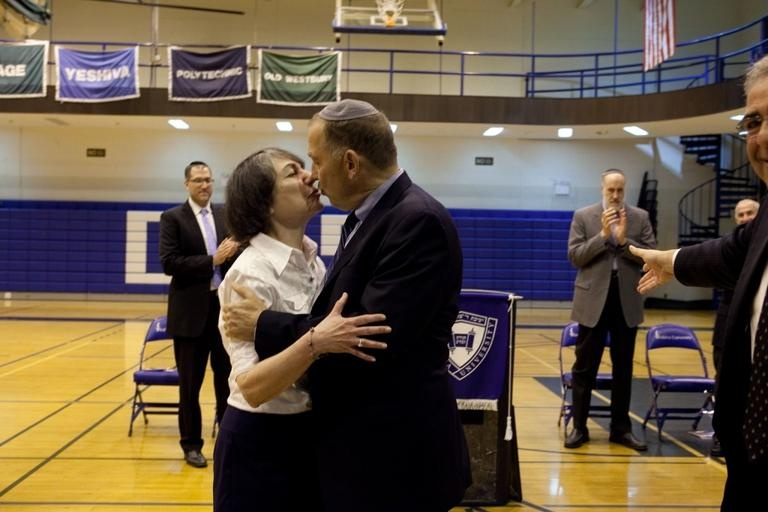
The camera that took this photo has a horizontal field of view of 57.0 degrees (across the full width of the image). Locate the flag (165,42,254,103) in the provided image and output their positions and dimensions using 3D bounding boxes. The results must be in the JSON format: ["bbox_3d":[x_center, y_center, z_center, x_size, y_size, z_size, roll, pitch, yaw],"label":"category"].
[{"bbox_3d":[-3.691,-3.865,14.978,2.345,1.543,0.106,0,1,-1],"label":"flag"}]

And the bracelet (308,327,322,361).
[{"bbox_3d":[-0.539,0.662,5.440,0.106,0.240,0.058,10,14,37],"label":"bracelet"}]

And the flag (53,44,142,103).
[{"bbox_3d":[-6.029,-3.808,14.840,2.186,1.469,0.093,-1,12,0],"label":"flag"}]

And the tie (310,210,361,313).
[{"bbox_3d":[-0.423,0.044,5.762,0.251,0.924,0.301,10,-8,26],"label":"tie"}]

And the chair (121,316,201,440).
[{"bbox_3d":[-2.858,1.501,9.141,0.952,1.244,1.039,5,4,14],"label":"chair"}]

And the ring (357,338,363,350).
[{"bbox_3d":[-0.184,0.661,5.394,0.055,0.080,0.018,3,12,9],"label":"ring"}]

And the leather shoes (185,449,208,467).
[{"bbox_3d":[-2.143,2.308,8.075,0.130,0.128,0.316,4,-8,-32],"label":"leather shoes"}]

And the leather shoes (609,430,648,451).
[{"bbox_3d":[2.973,2.236,8.619,0.442,0.168,0.170,2,-1,25],"label":"leather shoes"}]

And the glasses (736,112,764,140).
[{"bbox_3d":[2.859,-1.040,5.571,0.131,0.182,0.317,3,11,9],"label":"glasses"}]
